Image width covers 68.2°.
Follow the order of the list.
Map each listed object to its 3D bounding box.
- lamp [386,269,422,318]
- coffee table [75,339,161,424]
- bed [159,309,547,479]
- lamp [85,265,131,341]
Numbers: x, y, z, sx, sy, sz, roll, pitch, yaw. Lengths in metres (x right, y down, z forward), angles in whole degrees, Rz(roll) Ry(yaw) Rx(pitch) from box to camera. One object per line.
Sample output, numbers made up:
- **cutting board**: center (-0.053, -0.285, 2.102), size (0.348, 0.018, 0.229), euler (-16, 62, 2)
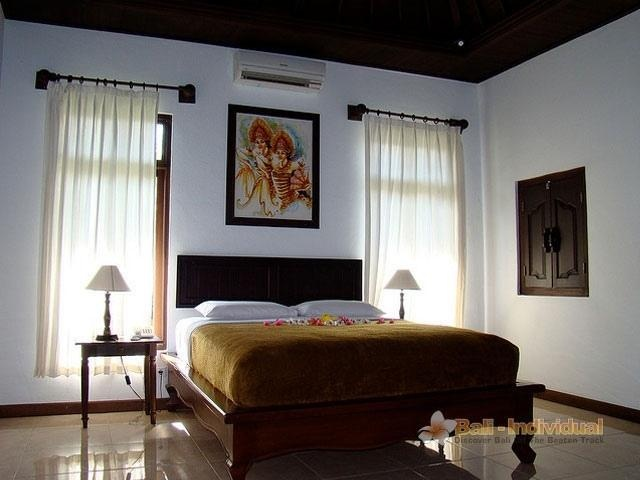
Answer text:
- **lamp**: center (0.945, 0.655, 5.444), size (0.375, 0.645, 0.366), euler (-2, 8, -11)
- **coffee table**: center (-1.891, 1.292, 4.433), size (0.723, 0.797, 0.531), euler (3, -1, -22)
- **bed**: center (0.216, 1.145, 3.552), size (2.475, 0.938, 1.202), euler (1, -2, -16)
- **lamp**: center (-2.003, 0.572, 4.432), size (0.362, 0.684, 0.451), euler (1, -2, -28)
